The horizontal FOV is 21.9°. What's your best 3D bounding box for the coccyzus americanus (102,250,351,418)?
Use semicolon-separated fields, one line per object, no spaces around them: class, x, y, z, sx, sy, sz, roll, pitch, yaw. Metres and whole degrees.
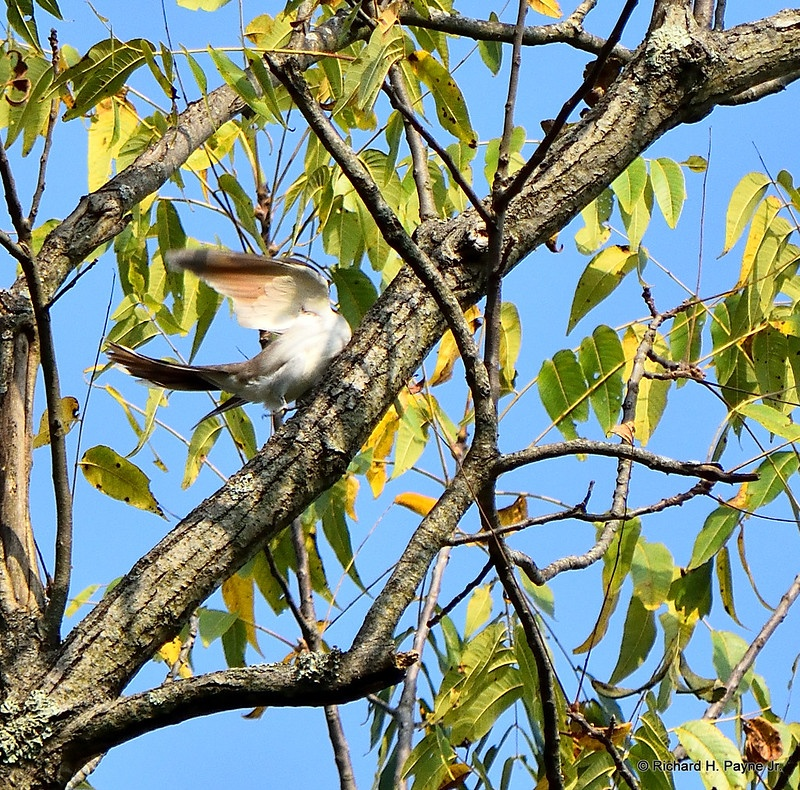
coccyzus americanus;-0.418;-0.207;6.008;0.529;0.339;0.589;0;-42;-17
